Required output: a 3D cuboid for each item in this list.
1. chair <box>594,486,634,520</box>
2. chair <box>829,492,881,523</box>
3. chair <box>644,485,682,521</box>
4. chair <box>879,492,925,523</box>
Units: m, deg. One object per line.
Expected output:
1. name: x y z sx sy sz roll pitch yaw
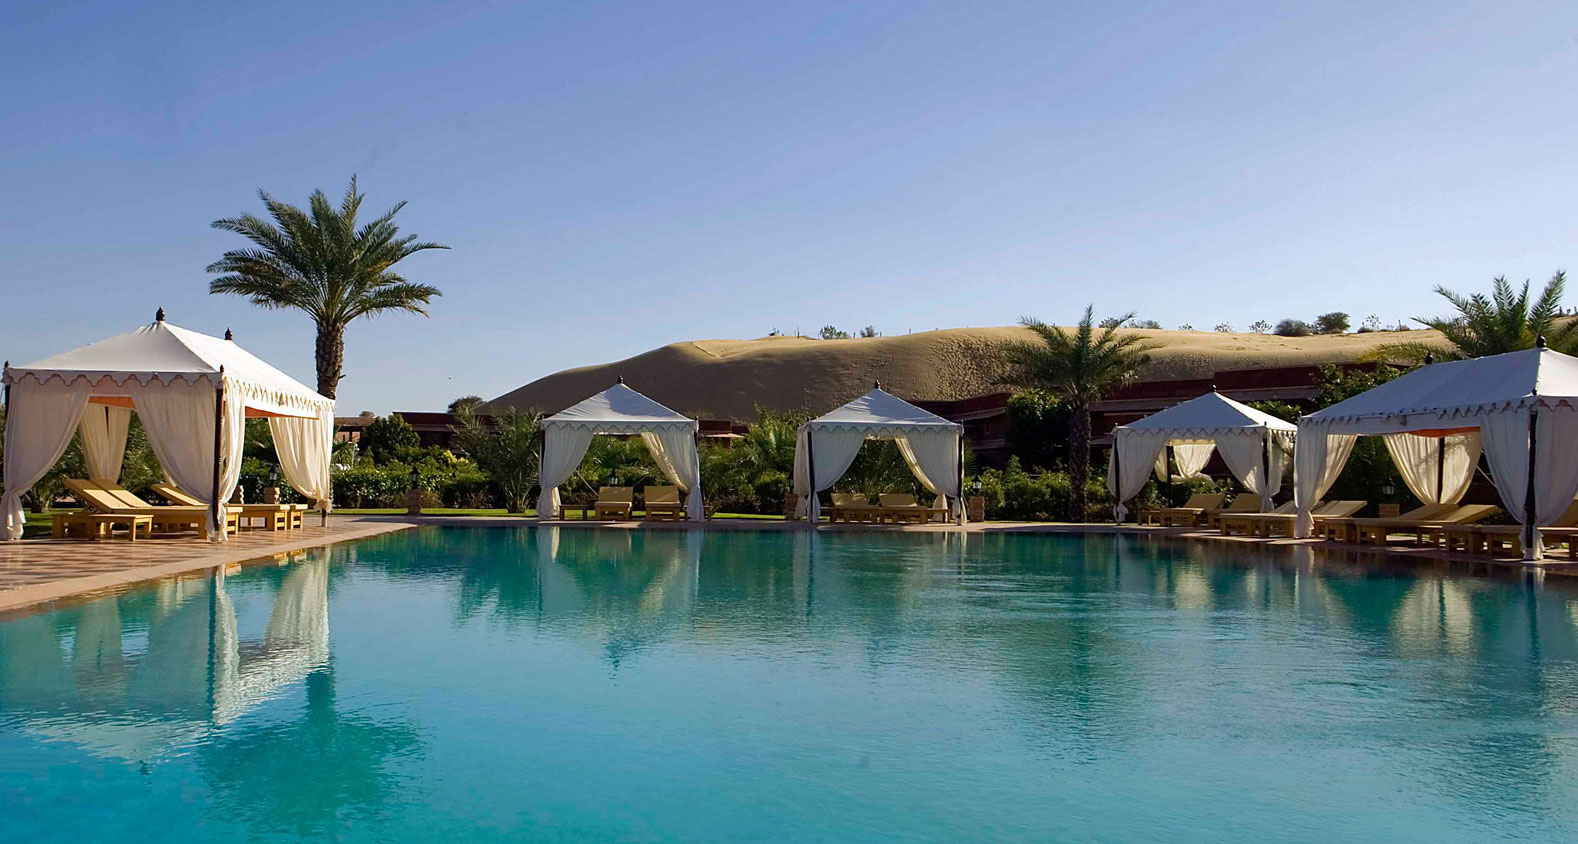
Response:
1. chair: -5.064 2.330 28.239 1.083 0.927 0.945 0 -8 2
2. chair: 1.919 2.515 28.454 1.387 0.667 0.947 0 11 -1
3. chair: -3.678 2.368 28.634 1.072 0.850 0.955 1 -7 -7
4. chair: 3.152 2.514 28.661 0.834 0.602 1.057 2 -10 -10
